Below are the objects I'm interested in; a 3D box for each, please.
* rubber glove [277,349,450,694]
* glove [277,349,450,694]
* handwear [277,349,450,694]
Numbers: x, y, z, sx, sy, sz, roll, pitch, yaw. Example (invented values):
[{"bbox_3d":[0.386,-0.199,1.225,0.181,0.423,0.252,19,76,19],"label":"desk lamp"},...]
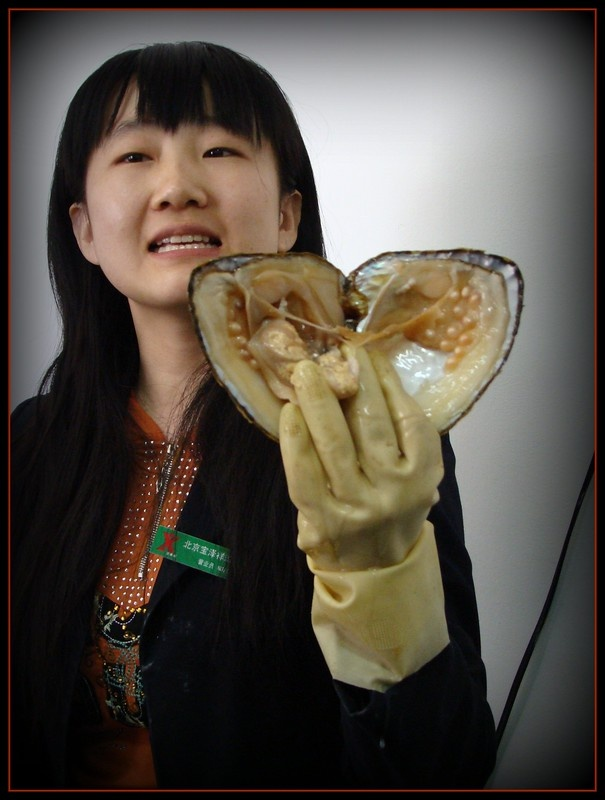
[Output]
[{"bbox_3d":[0.093,0.181,1.068,0.213,0.491,0.125,-17,18,-33],"label":"rubber glove"},{"bbox_3d":[0.093,0.181,1.068,0.213,0.491,0.125,-17,18,-33],"label":"glove"},{"bbox_3d":[0.093,0.181,1.068,0.213,0.491,0.125,-17,18,-33],"label":"handwear"}]
